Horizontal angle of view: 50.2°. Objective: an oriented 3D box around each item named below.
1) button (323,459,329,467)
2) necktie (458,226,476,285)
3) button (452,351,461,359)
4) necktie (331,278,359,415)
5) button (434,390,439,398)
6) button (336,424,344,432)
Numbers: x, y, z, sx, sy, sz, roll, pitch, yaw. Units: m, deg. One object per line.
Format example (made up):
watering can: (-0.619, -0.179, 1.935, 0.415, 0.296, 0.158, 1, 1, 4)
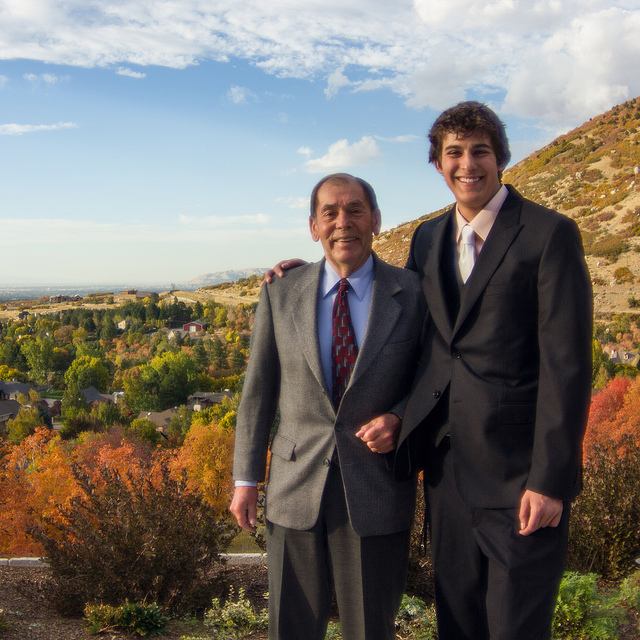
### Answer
button: (0.031, 0.840, 4.013, 0.035, 0.036, 0.010, -2, 1, 22)
necktie: (0.887, -0.396, 4.120, 0.087, 0.342, 0.083, -1, 4, 0)
button: (0.794, 0.200, 3.967, 0.038, 0.040, 0.009, -6, -6, 15)
necktie: (0.132, 0.145, 4.159, 0.171, 0.783, 0.220, -2, 4, -12)
button: (0.676, 0.426, 3.966, 0.026, 0.040, 0.026, 0, 4, 14)
button: (0.114, 0.632, 4.013, 0.042, 0.044, 0.010, 0, -7, -5)
